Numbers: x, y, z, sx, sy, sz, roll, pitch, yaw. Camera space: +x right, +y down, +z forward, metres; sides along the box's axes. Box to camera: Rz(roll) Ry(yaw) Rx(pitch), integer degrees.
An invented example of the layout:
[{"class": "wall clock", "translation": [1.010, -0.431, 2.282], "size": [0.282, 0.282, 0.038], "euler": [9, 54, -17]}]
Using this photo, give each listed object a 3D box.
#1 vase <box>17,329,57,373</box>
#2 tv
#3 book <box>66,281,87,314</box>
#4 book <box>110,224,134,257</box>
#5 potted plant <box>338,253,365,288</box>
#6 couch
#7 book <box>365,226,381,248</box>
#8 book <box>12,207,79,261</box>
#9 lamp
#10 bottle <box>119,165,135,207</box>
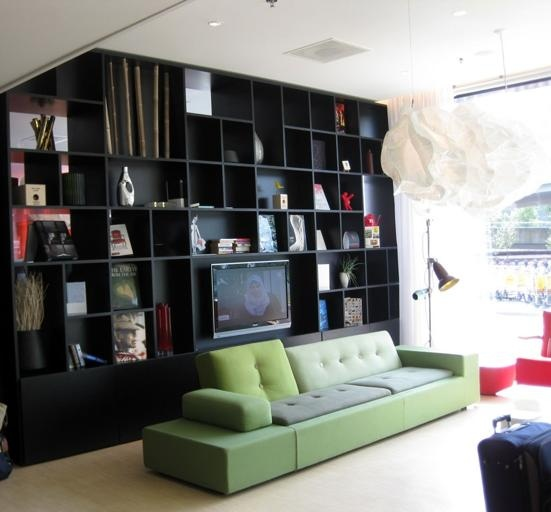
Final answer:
[{"class": "vase", "translation": [-1.899, 0.752, 3.798], "size": [0.141, 0.341, 0.296], "euler": [-2, -3, 18]}, {"class": "tv", "translation": [-0.288, 0.451, 4.971], "size": [0.812, 0.643, 0.083], "euler": [-2, -1, -41]}, {"class": "book", "translation": [-1.656, 0.348, 3.946], "size": [0.037, 0.363, 0.252], "euler": [-4, -3, 32]}, {"class": "book", "translation": [-1.386, -0.136, 4.241], "size": [0.080, 0.236, 0.337], "euler": [1, 3, 34]}, {"class": "potted plant", "translation": [0.971, 0.187, 6.168], "size": [0.388, 0.568, 0.404], "euler": [-2, -4, 33]}, {"class": "couch", "translation": [0.363, 1.134, 3.957], "size": [2.788, 0.835, 0.841], "euler": [0, -3, -39]}, {"class": "book", "translation": [1.268, -0.250, 6.264], "size": [0.277, 0.327, 0.034], "euler": [-3, 2, -43]}, {"class": "book", "translation": [-1.841, -0.171, 3.764], "size": [0.125, 0.338, 0.383], "euler": [6, 8, 41]}, {"class": "lamp", "translation": [1.835, 0.460, 5.411], "size": [0.506, 1.539, 0.329], "euler": [8, 26, 39]}, {"class": "bottle", "translation": [-1.321, -0.614, 4.214], "size": [0.117, 0.376, 0.121], "euler": [-1, -3, 0]}]
